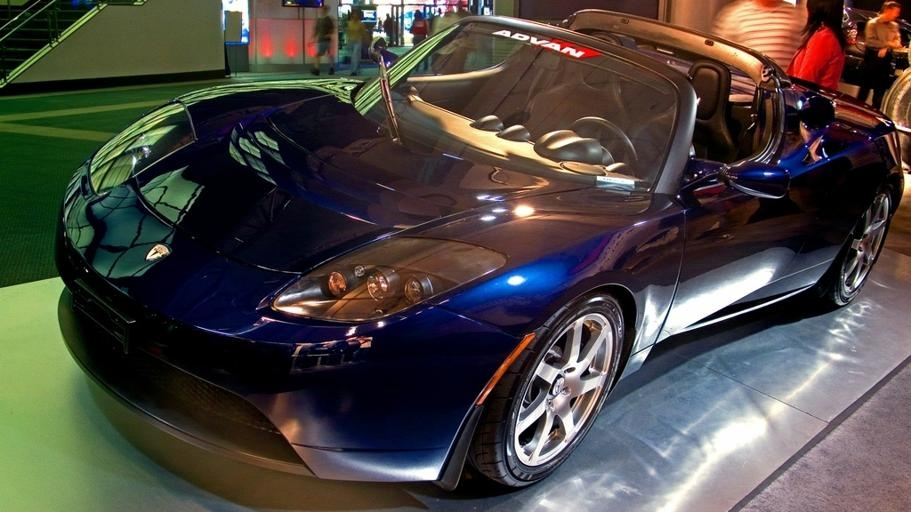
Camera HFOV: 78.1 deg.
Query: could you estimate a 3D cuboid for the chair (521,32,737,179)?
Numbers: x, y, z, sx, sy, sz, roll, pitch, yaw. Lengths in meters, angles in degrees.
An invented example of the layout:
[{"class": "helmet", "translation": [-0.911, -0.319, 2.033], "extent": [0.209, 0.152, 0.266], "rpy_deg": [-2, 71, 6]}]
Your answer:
[{"class": "chair", "translation": [1.266, -0.892, 3.889], "extent": [1.493, 1.006, 0.502], "rpy_deg": [3, -11, -35]}]
